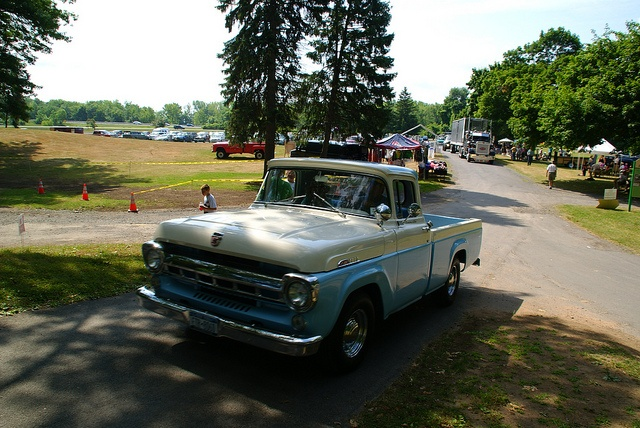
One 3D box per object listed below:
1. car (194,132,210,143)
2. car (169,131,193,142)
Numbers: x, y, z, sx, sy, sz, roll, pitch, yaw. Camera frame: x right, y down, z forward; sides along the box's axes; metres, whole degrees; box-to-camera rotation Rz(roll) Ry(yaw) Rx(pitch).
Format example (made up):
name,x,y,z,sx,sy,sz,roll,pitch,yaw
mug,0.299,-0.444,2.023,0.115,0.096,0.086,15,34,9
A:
name,x,y,z,sx,sy,sz,roll,pitch,yaw
car,-20.351,-13.151,73.980,1.530,1.289,2.534,0,3,11
car,-23.705,-13.290,73.905,2.303,1.484,3.538,-1,4,-2
